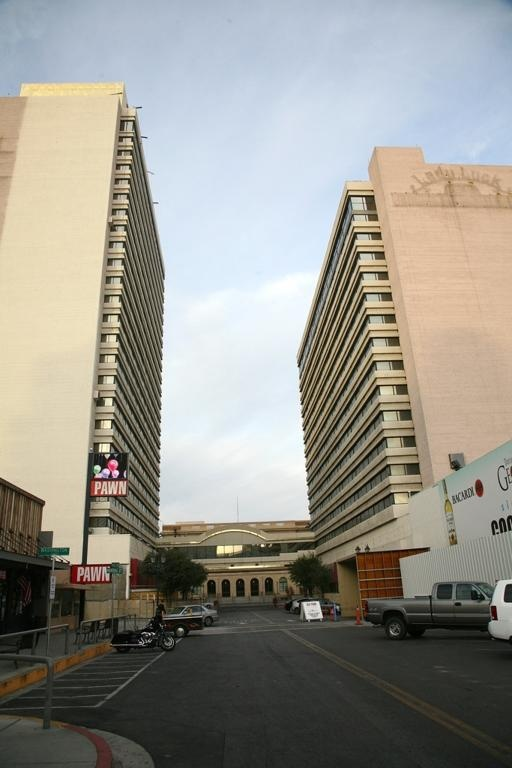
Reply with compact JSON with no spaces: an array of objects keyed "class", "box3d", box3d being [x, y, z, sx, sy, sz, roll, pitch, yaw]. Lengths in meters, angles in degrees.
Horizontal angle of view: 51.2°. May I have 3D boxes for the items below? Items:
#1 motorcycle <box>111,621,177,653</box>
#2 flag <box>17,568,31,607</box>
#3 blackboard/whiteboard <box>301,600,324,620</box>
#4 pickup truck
[{"class":"motorcycle","box3d":[-4.349,10.061,20.670,2.306,1.311,1.214,0,-60,-5]},{"class":"flag","box3d":[-11.065,9.490,25.082,0.265,2.430,1.240,4,-39,-20]},{"class":"blackboard/whiteboard","box3d":[3.868,16.086,37.808,1.329,1.296,1.421,-2,-19,-4]},{"class":"pickup truck","box3d":[6.188,7.722,19.215,4.761,1.902,2.673,-20,-28,37]}]
